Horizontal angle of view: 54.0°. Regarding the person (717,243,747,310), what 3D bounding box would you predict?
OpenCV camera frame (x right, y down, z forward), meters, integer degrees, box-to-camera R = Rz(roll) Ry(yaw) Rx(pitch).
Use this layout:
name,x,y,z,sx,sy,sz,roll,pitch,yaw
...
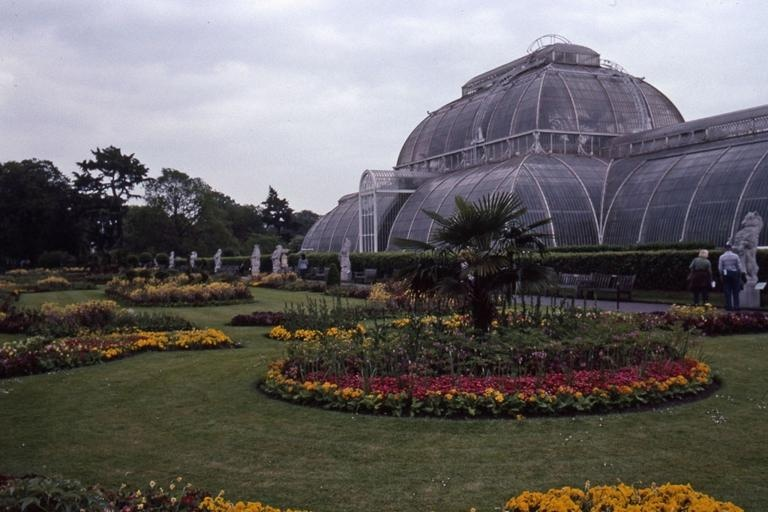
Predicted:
name,x,y,z,sx,sy,sz,roll,pitch,yaw
person,11.895,0.655,25.871,0.717,2.309,1.337,1,-2,25
